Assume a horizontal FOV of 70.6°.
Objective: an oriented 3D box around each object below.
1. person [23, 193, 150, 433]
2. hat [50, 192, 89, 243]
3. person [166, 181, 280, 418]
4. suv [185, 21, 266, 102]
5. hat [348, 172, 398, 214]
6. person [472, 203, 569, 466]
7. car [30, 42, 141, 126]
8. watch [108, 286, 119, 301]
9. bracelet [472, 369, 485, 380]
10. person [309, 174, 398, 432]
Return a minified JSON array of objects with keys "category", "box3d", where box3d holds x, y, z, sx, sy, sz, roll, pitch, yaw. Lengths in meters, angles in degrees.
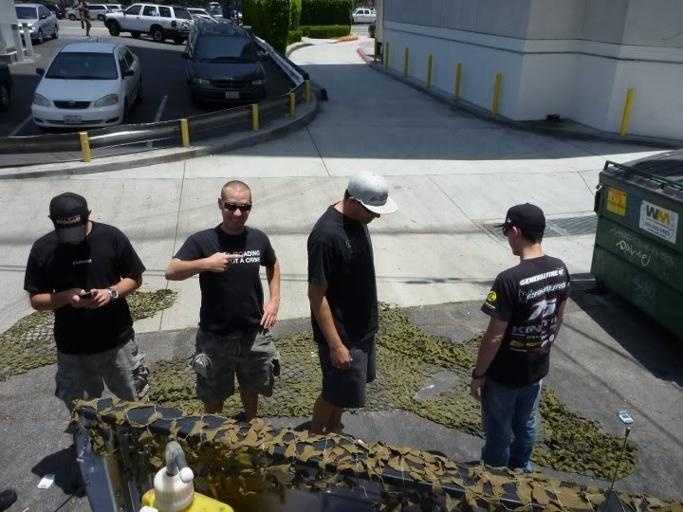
[{"category":"person","box3d":[-1.916,0.586,3.703,0.800,2.119,0.661,-7,21,-27]},{"category":"hat","box3d":[-1.930,-0.290,3.457,0.258,0.196,0.363,-4,63,-12]},{"category":"person","box3d":[-0.910,0.404,3.844,0.798,1.965,0.346,-2,15,-17]},{"category":"suv","box3d":[-3.728,-6.132,15.203,2.064,2.508,2.579,-5,17,-26]},{"category":"hat","box3d":[0.209,-0.395,3.430,0.338,0.154,0.263,35,41,2]},{"category":"person","box3d":[1.256,0.617,3.439,0.491,1.938,0.536,10,16,28]},{"category":"car","box3d":[-6.693,-4.549,12.782,1.985,2.314,2.759,0,15,-11]},{"category":"watch","box3d":[-1.679,0.274,3.562,0.083,0.088,0.056,-5,25,46]},{"category":"bracelet","box3d":[0.959,0.828,3.389,0.070,0.079,0.077,3,-16,5]},{"category":"person","box3d":[0.050,0.270,3.598,0.602,1.780,0.385,0,15,-9]}]
